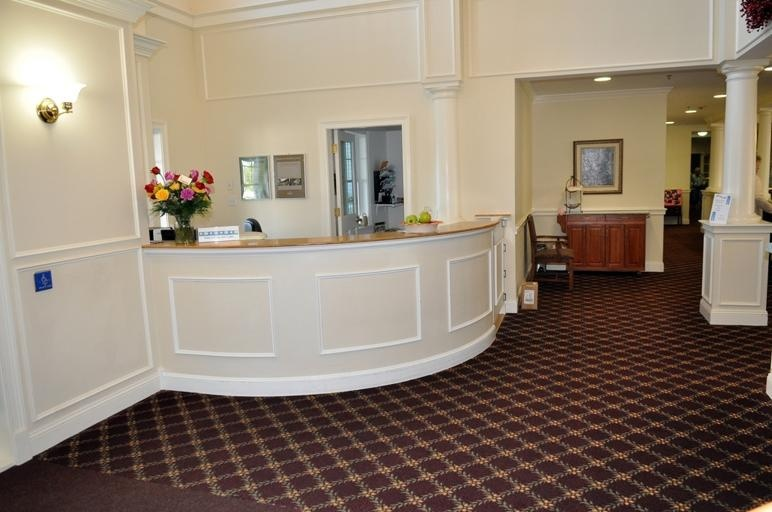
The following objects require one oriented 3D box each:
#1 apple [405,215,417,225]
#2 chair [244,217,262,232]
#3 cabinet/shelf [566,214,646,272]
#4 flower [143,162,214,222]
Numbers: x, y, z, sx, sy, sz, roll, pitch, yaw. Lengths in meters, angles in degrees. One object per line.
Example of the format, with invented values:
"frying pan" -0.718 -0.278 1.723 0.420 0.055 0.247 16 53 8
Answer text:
"apple" 0.291 -0.424 5.825 0.109 0.108 0.132 10 20 1
"chair" -2.125 -0.495 8.092 0.286 0.244 0.201 -2 9 -9
"cabinet/shelf" 4.204 -0.283 9.618 1.177 0.889 0.403 0 5 10
"flower" -2.185 -0.618 5.421 0.658 0.565 0.351 -8 16 -23
